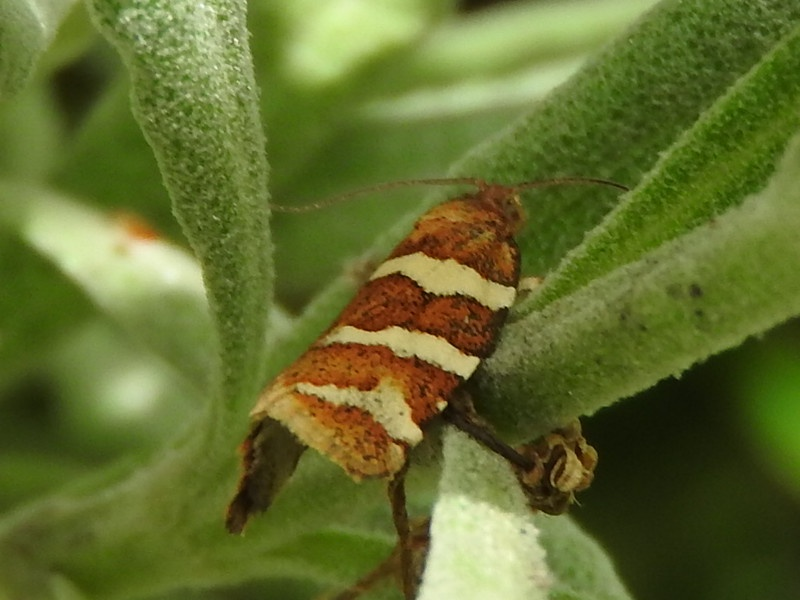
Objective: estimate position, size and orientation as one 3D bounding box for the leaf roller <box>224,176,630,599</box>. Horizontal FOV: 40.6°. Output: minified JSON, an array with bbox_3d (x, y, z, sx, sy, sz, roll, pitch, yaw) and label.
[{"bbox_3d":[0.030,0.035,0.606,0.183,0.081,0.254,17,72,5],"label":"leaf roller"}]
